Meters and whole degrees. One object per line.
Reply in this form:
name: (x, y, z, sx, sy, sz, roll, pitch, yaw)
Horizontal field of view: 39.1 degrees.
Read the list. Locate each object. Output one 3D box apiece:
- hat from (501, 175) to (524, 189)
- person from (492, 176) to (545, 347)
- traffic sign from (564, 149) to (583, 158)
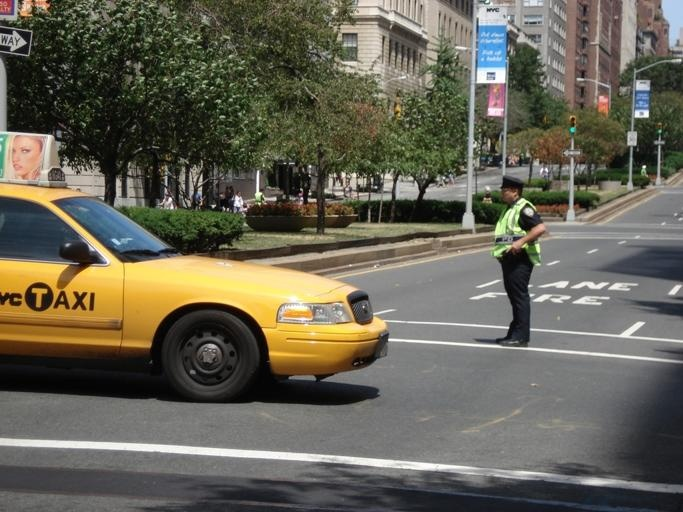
hat: (2.291, -0.982, 12.663, 0.276, 0.116, 0.226, -1, 6, 7)
person: (2.336, 0.090, 12.600, 0.605, 2.270, 0.782, 0, 5, -14)
traffic sign: (10.692, -4.807, 43.957, 0.614, 0.306, 1.839, 3, 5, 20)
